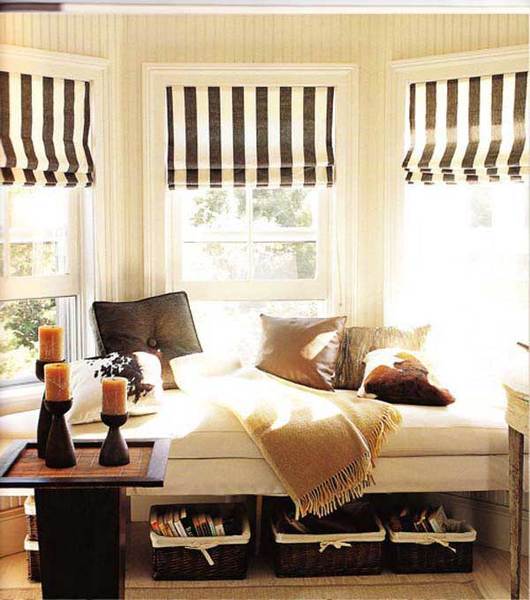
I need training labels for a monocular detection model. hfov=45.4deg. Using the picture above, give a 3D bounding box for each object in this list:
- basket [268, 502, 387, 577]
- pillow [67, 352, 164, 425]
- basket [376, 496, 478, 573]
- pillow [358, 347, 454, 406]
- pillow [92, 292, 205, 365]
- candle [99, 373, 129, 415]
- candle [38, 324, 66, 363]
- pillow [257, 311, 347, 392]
[{"bbox_3d":[0.253,0.974,2.559,0.341,0.123,0.288,-1,2,-3],"label":"basket"},{"bbox_3d":[-0.615,0.353,2.617,0.311,0.090,0.293,-3,45,-13],"label":"pillow"},{"bbox_3d":[0.681,0.977,2.724,0.350,0.232,0.425,-2,8,6],"label":"basket"},{"bbox_3d":[0.623,0.333,2.893,0.476,0.142,0.481,10,16,19],"label":"pillow"},{"bbox_3d":[-0.558,0.202,3.043,0.500,0.467,0.169,0,-14,-33],"label":"pillow"},{"bbox_3d":[-0.463,0.297,1.923,0.096,0.103,0.095,-5,-5,38],"label":"candle"},{"bbox_3d":[-0.685,0.137,2.013,0.074,0.113,0.079,-2,11,-35],"label":"candle"},{"bbox_3d":[0.146,0.239,3.122,0.483,0.340,0.185,3,-21,38],"label":"pillow"}]
